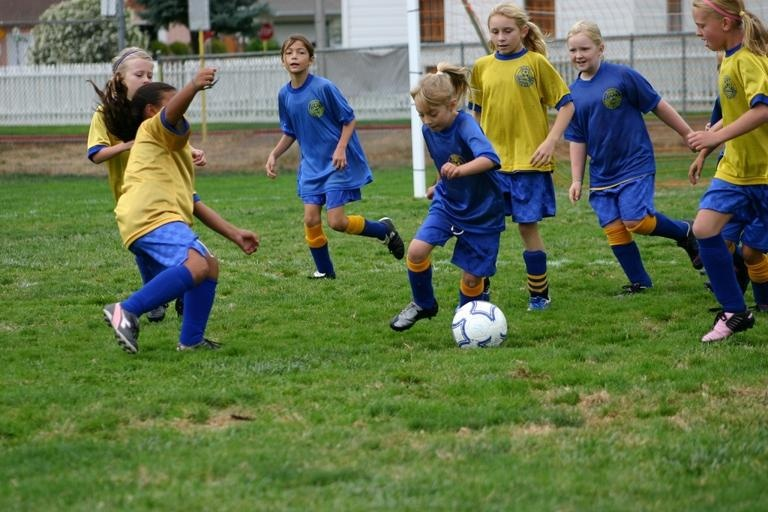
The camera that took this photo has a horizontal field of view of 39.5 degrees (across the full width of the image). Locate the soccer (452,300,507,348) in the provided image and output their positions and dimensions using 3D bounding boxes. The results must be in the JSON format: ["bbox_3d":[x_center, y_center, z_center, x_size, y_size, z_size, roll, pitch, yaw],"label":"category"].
[{"bbox_3d":[0.736,0.560,8.471,0.365,0.369,0.364,9,-9,-4],"label":"soccer"}]

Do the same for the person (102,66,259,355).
[{"bbox_3d":[-1.612,-0.335,8.234,1.076,2.143,1.017,-4,9,-5],"label":"person"}]
